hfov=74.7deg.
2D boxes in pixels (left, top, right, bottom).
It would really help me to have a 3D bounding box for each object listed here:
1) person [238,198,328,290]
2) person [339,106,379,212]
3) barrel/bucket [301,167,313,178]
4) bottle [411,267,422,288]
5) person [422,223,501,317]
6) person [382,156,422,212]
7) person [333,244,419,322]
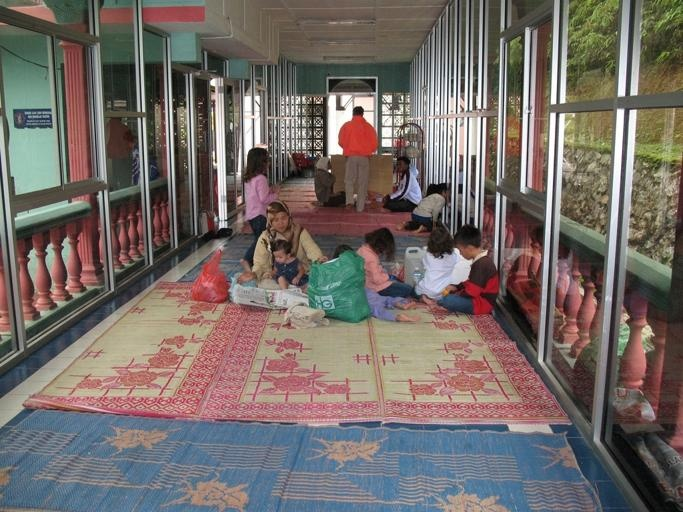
[{"bbox_3d":[-0.651,-0.060,4.417,0.859,0.853,0.704,-13,10,-18],"label":"person"},{"bbox_3d":[0.313,-2.221,10.003,0.819,2.213,1.195,2,14,10],"label":"person"},{"bbox_3d":[-1.223,-3.057,16.395,0.415,0.286,0.404,0,8,0],"label":"barrel/bucket"},{"bbox_3d":[0.798,0.249,4.890,0.154,0.213,0.170,2,5,0],"label":"bottle"},{"bbox_3d":[1.187,0.071,4.545,0.772,1.045,0.752,5,11,22],"label":"person"},{"bbox_3d":[1.247,-1.573,9.688,0.930,1.152,0.998,-13,19,-43],"label":"person"},{"bbox_3d":[0.313,0.233,4.109,0.738,0.630,0.451,2,14,8],"label":"person"}]
